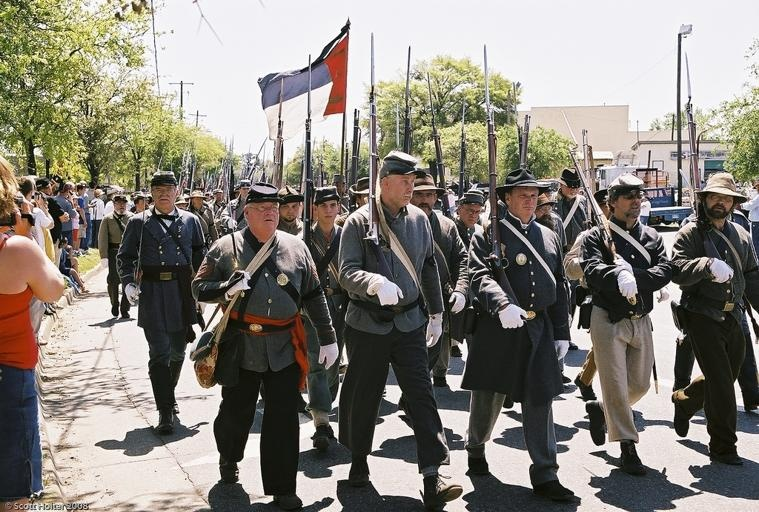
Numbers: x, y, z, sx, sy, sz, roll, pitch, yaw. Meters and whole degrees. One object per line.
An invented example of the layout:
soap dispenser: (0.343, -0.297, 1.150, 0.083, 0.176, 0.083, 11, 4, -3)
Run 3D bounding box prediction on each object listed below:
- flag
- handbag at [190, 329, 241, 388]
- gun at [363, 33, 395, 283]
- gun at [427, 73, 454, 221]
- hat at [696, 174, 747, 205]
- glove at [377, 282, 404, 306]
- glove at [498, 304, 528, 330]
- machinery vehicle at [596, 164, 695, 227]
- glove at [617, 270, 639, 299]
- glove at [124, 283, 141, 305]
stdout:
flag: (-1.157, -2.584, 10.089, 1.251, 1.621, 1.451, -2, 7, -9)
handbag: (-1.470, 0.956, 6.022, 0.380, 0.544, 0.208, 0, -10, 27)
gun: (-0.058, -0.937, 6.405, 0.177, 2.586, 0.450, 3, -8, -16)
gun: (0.965, -1.144, 10.539, 0.218, 1.620, 0.079, -10, -6, 21)
hat: (3.625, -0.752, 7.046, 0.371, 0.200, 0.379, 11, -10, 14)
glove: (0.109, 0.323, 5.885, 0.267, 0.202, 0.107, -6, 8, -38)
glove: (1.220, 0.572, 6.092, 0.245, 0.289, 0.333, 1, 7, 14)
machinery vehicle: (14.046, -2.909, 35.217, 3.994, 4.144, 7.206, 0, 3, 6)
glove: (2.342, 0.271, 6.347, 0.190, 0.258, 0.088, 6, -26, -25)
glove: (-2.958, 0.464, 7.919, 0.181, 0.247, 0.116, -3, -3, -7)
